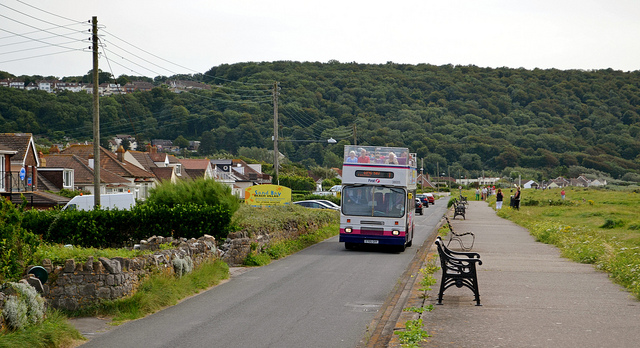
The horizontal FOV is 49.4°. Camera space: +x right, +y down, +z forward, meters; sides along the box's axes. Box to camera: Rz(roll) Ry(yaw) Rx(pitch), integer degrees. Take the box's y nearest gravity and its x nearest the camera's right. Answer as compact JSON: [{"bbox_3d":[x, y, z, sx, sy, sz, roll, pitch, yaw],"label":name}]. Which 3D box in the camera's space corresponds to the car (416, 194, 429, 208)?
[{"bbox_3d":[14.068,3.724,95.310,1.231,0.983,2.945,1,5,12],"label":"car"}]

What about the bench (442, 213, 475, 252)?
[{"bbox_3d":[11.577,5.080,58.000,2.425,2.770,2.201,-3,-8,30],"label":"bench"}]

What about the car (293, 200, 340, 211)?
[{"bbox_3d":[-0.690,3.279,73.944,3.768,1.248,1.733,-4,5,4],"label":"car"}]

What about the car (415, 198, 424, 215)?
[{"bbox_3d":[12.080,4.038,85.300,1.159,0.907,2.764,1,7,12],"label":"car"}]

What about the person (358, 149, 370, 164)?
[{"bbox_3d":[3.563,-1.398,56.590,0.952,1.728,0.617,-4,-19,16],"label":"person"}]

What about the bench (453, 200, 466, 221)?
[{"bbox_3d":[14.830,4.193,75.249,1.486,2.074,1.491,0,0,15],"label":"bench"}]

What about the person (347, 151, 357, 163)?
[{"bbox_3d":[2.578,-1.214,56.942,1.198,1.139,0.636,2,-12,-5],"label":"person"}]

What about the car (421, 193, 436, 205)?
[{"bbox_3d":[16.063,3.806,104.218,1.487,1.074,3.297,1,5,10],"label":"car"}]

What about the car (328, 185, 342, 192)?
[{"bbox_3d":[2.617,2.373,112.170,1.713,0.837,1.060,5,5,21],"label":"car"}]
